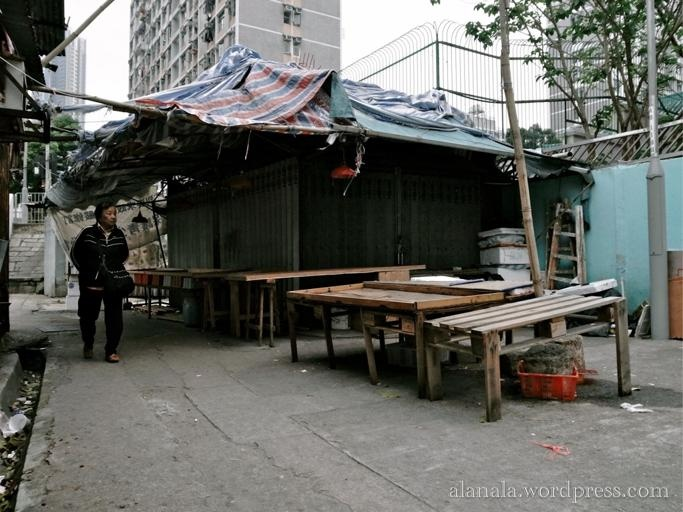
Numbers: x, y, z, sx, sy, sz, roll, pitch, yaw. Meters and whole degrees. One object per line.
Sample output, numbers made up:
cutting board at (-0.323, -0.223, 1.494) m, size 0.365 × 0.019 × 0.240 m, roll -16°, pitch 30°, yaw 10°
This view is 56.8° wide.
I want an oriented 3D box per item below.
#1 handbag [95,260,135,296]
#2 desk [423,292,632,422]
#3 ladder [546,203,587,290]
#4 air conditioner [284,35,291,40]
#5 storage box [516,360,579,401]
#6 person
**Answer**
handbag at (-3.379, 0.322, 9.469) m, size 0.509 × 0.527 × 0.316 m, roll -9°, pitch 14°, yaw -32°
desk at (2.244, 1.150, 7.600) m, size 2.310 × 1.186 × 0.937 m, roll -6°, pitch 12°, yaw -21°
ladder at (4.696, -0.206, 13.012) m, size 0.901 × 1.745 × 0.742 m, roll 6°, pitch 14°, yaw 33°
air conditioner at (-3.895, -15.786, 45.368) m, size 0.626 × 0.297 × 0.416 m, roll 2°, pitch -6°, yaw -23°
storage box at (2.585, 1.562, 7.878) m, size 0.722 × 0.261 × 0.512 m, roll 0°, pitch 3°, yaw 16°
person at (-3.621, 0.414, 9.585) m, size 0.823 × 2.433 × 0.749 m, roll -7°, pitch 13°, yaw -22°
